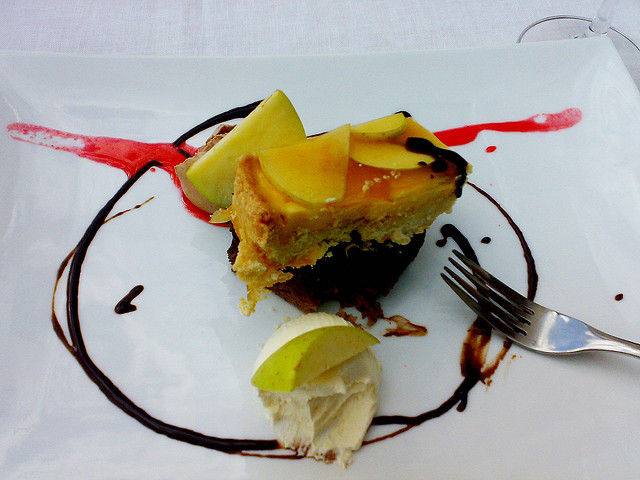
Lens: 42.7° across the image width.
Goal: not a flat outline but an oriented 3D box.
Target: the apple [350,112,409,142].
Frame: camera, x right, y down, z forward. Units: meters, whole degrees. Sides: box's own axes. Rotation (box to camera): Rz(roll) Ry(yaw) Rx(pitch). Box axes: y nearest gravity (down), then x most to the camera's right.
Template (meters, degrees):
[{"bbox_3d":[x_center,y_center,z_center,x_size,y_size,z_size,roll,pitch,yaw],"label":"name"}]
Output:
[{"bbox_3d":[0.260,-0.478,3.491,0.169,0.060,0.142,-26,37,-16],"label":"apple"}]

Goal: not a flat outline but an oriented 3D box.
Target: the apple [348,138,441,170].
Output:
[{"bbox_3d":[0.301,-0.356,3.439,0.356,0.049,0.132,7,74,3],"label":"apple"}]
